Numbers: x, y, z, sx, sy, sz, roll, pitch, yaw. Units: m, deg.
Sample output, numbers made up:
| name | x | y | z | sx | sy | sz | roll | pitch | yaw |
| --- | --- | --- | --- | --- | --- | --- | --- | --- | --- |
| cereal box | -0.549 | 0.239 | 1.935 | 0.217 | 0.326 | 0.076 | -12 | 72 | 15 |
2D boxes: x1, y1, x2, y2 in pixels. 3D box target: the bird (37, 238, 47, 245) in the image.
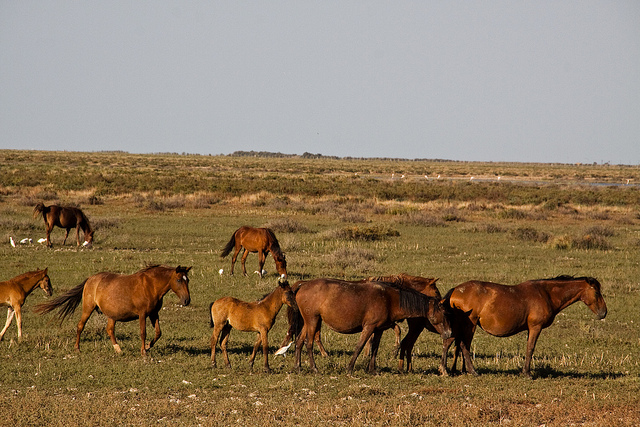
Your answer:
| name | x | y | z | sx | sy | sz | roll | pitch | yaw |
| --- | --- | --- | --- | --- | --- | --- | --- | --- | --- |
| bird | -16.617 | 1.506 | 73.677 | 0.229 | 0.443 | 0.668 | -4 | 9 | -38 |

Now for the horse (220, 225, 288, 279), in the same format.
| name | x | y | z | sx | sy | sz | roll | pitch | yaw |
| --- | --- | --- | --- | --- | --- | --- | --- | --- | --- |
| horse | -3.542 | 1.990 | 68.743 | 4.343 | 2.890 | 1.790 | -1 | -1 | 41 |

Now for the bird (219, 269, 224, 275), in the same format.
| name | x | y | z | sx | sy | sz | roll | pitch | yaw |
| --- | --- | --- | --- | --- | --- | --- | --- | --- | --- |
| bird | -5.507 | 3.127 | 68.838 | 0.200 | 0.267 | 0.565 | 0 | -1 | -8 |

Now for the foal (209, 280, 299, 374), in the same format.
| name | x | y | z | sx | sy | sz | roll | pitch | yaw |
| --- | --- | --- | --- | --- | --- | --- | --- | --- | --- |
| foal | -3.217 | 5.435 | 58.924 | 4.140 | 4.692 | 1.331 | -1 | -29 | 0 |

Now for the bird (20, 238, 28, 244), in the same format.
| name | x | y | z | sx | sy | sz | roll | pitch | yaw |
| --- | --- | --- | --- | --- | --- | --- | --- | --- | --- |
| bird | -17.584 | 1.501 | 73.577 | 0.326 | 0.302 | 0.545 | -1 | -1 | 34 |

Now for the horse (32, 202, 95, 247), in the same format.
| name | x | y | z | sx | sy | sz | roll | pitch | yaw |
| --- | --- | --- | --- | --- | --- | --- | --- | --- | --- |
| horse | -15.140 | 0.515 | 73.352 | 3.162 | 2.540 | 1.032 | 0 | 0 | -17 |

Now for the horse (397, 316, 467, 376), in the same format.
| name | x | y | z | sx | sy | sz | roll | pitch | yaw |
| --- | --- | --- | --- | --- | --- | --- | --- | --- | --- |
| horse | 5.298 | 6.545 | 60.833 | 3.277 | 3.171 | 2.990 | -2 | -2 | 1 |
